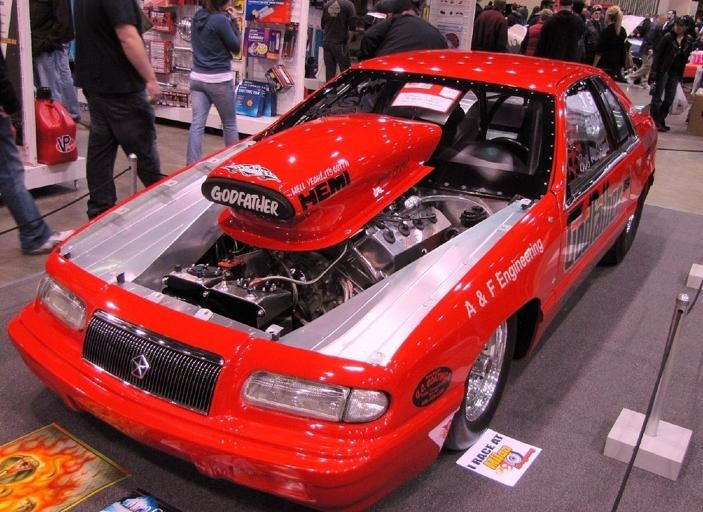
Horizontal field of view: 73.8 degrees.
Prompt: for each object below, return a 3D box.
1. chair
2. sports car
[{"bbox_3d":[0.989,-0.750,3.060,0.571,0.307,1.016,16,45,24],"label":"chair"},{"bbox_3d":[0.589,0.036,2.896,1.931,1.145,3.860,22,39,36],"label":"sports car"}]
